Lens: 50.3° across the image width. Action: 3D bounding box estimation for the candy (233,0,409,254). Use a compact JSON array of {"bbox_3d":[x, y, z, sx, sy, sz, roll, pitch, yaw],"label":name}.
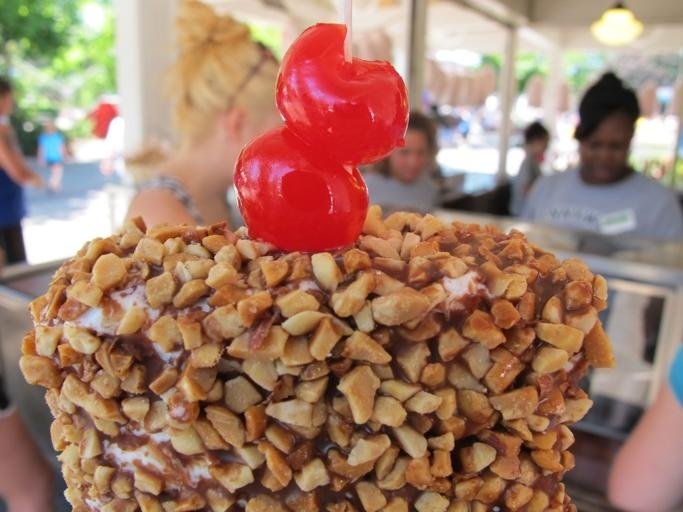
[{"bbox_3d":[-0.043,-0.165,1.125,0.256,0.492,0.243,5,4,-10],"label":"candy"}]
